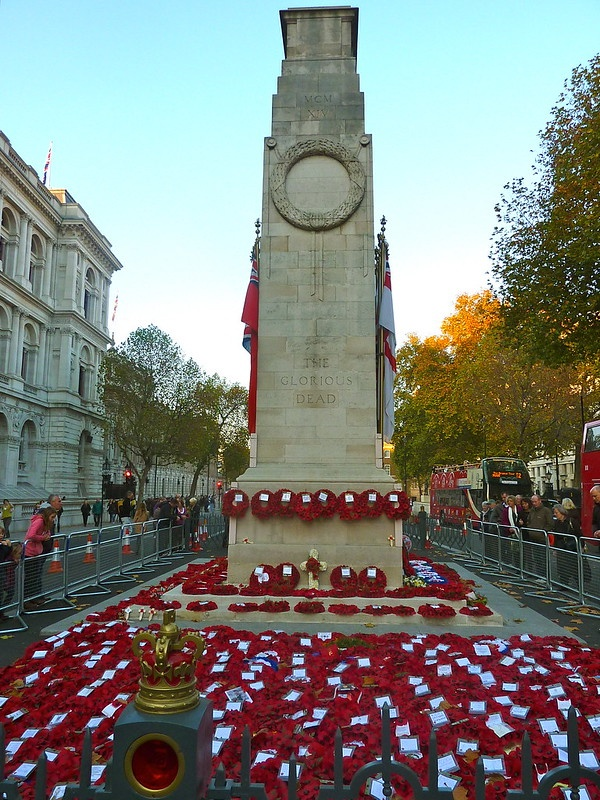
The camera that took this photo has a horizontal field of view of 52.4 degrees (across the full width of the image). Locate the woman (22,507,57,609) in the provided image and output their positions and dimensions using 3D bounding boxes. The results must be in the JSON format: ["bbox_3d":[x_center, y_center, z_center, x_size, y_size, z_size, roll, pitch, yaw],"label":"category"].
[{"bbox_3d":[-4.768,2.725,10.701,0.534,1.634,0.592,-6,-13,22],"label":"woman"}]

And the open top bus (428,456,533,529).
[{"bbox_3d":[10.320,5.169,35.049,2.927,3.262,9.308,2,-14,-10],"label":"open top bus"}]
